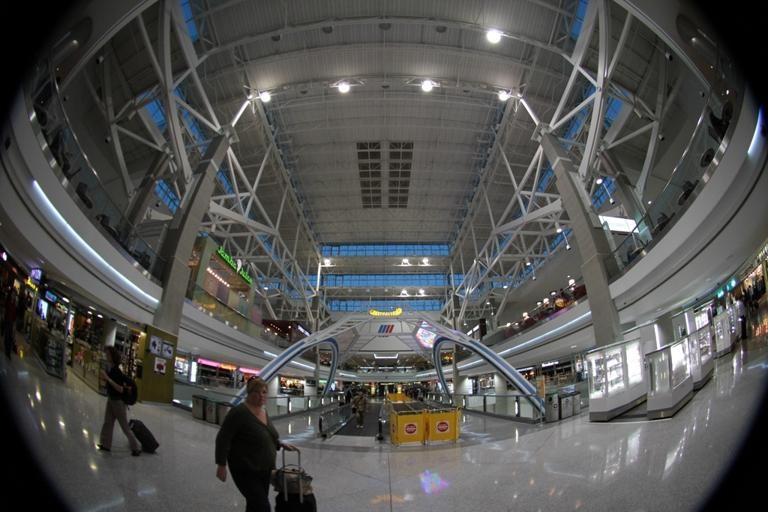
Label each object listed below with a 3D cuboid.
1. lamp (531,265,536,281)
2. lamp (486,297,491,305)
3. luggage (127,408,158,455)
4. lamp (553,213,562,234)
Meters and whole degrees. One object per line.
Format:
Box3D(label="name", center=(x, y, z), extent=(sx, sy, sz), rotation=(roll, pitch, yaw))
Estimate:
Box3D(label="lamp", center=(13.699, 1.461, 42.508), extent=(0.475, 1.327, 1.731), rotation=(-1, 4, 18))
Box3D(label="lamp", center=(12.022, 5.088, 53.348), extent=(0.429, 0.837, 2.019), rotation=(-1, 4, 12))
Box3D(label="luggage", center=(-4.096, 3.046, 8.091), extent=(0.225, 0.703, 0.393), rotation=(-30, 41, -22))
Box3D(label="lamp", center=(12.102, -2.375, 32.405), extent=(0.823, 0.837, 1.011), rotation=(22, -4, 13))
